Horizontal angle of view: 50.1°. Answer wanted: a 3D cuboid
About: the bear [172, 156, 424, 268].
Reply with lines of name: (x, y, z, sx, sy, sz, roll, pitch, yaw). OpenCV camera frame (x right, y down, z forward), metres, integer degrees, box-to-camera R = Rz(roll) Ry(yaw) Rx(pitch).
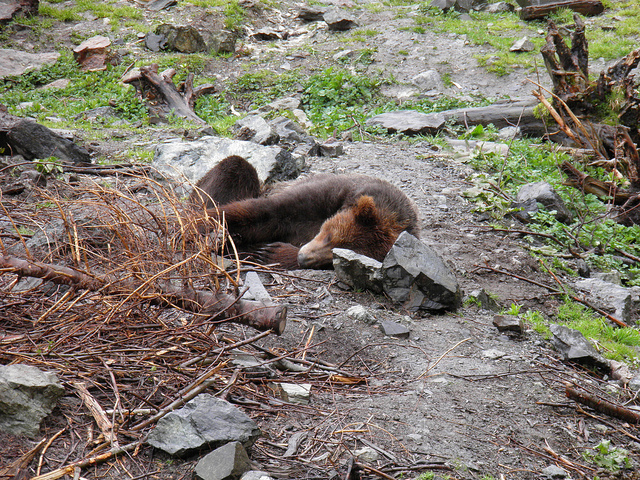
bear: (-0.387, -0.376, 8.691, 2.655, 0.737, 1.805, 12, 6, 37)
